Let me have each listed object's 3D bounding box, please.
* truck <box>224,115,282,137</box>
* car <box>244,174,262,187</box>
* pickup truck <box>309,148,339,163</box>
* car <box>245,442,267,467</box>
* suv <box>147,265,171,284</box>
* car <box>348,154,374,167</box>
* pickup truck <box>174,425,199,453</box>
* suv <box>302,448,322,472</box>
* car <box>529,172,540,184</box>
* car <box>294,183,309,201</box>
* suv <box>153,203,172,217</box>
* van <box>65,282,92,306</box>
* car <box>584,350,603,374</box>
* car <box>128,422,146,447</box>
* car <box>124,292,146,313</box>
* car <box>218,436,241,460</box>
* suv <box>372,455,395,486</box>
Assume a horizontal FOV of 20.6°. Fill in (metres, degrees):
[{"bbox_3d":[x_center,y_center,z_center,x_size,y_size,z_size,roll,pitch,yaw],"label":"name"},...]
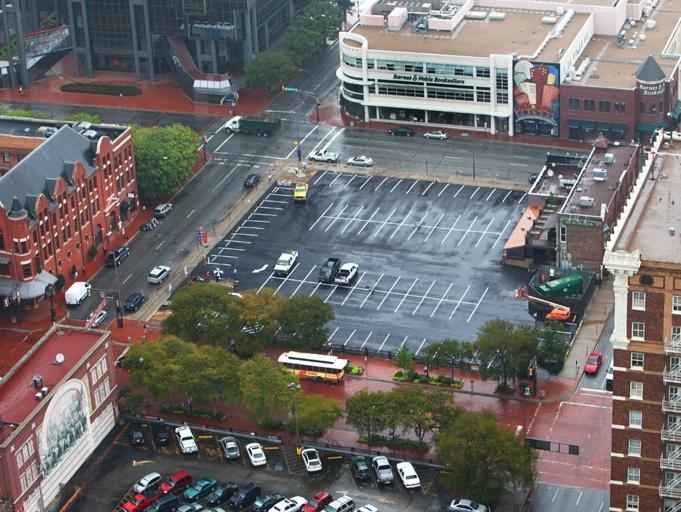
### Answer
[{"bbox_3d":[-19.071,-28.385,404.368,11.918,3.587,4.709,7,41,18],"label":"truck"},{"bbox_3d":[-18.168,-15.793,382.622,2.039,1.580,4.163,13,30,21],"label":"car"},{"bbox_3d":[-3.473,-21.409,391.138,5.986,1.552,3.746,7,28,10],"label":"pickup truck"},{"bbox_3d":[-13.934,32.720,309.868,2.888,2.175,4.320,-7,29,-15],"label":"car"},{"bbox_3d":[-34.041,3.200,352.762,2.153,2.472,4.559,19,33,30],"label":"suv"},{"bbox_3d":[3.874,-19.995,387.720,4.309,1.274,2.467,6,31,7],"label":"car"},{"bbox_3d":[-25.714,30.693,312.956,2.977,2.475,4.988,-9,30,-18],"label":"pickup truck"},{"bbox_3d":[-4.853,33.570,308.386,2.885,2.167,4.440,-4,28,-10],"label":"suv"},{"bbox_3d":[38.278,-16.144,377.500,2.123,2.221,1.633,-3,14,-37],"label":"car"},{"bbox_3d":[-7.920,-13.468,376.660,2.490,2.635,4.996,5,28,8],"label":"car"},{"bbox_3d":[-35.327,-9.669,373.645,2.194,1.904,4.416,16,31,26],"label":"suv"},{"bbox_3d":[-48.567,6.726,347.672,2.971,2.443,5.033,9,33,13],"label":"van"},{"bbox_3d":[43.818,18.539,326.534,1.963,1.633,4.817,5,36,26],"label":"car"},{"bbox_3d":[-34.199,29.891,315.421,2.786,1.842,4.992,-2,28,-7],"label":"car"},{"bbox_3d":[-38.258,7.925,346.136,2.395,1.983,4.198,17,42,20],"label":"car"},{"bbox_3d":[-18.327,31.954,311.249,2.918,2.075,3.901,-8,29,-17],"label":"car"},{"bbox_3d":[6.816,35.078,305.926,2.869,2.584,4.875,-5,29,-11],"label":"suv"}]
